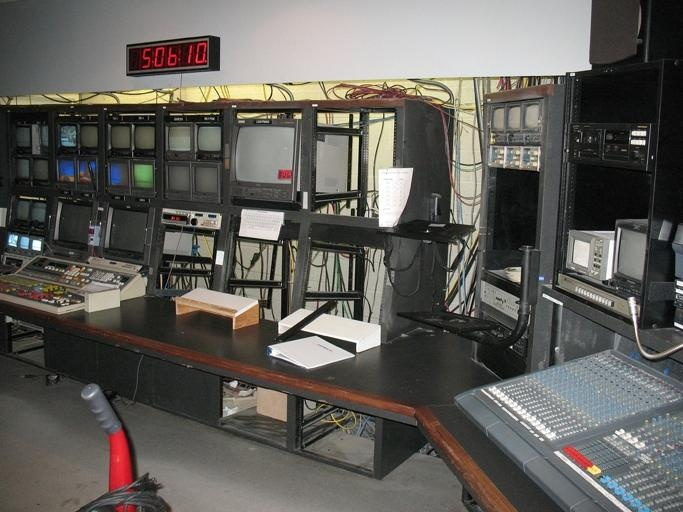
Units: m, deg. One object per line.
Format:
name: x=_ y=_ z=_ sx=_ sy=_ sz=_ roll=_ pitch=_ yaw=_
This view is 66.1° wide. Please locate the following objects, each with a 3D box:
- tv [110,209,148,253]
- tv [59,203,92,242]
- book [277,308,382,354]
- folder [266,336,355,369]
tv: x=-1.638 y=-0.193 z=4.033 sx=0.371 sy=0.313 sz=0.108 roll=8 pitch=10 yaw=34
tv: x=-2.155 y=-0.268 z=4.283 sx=0.287 sy=0.278 sz=0.161 roll=5 pitch=1 yaw=34
book: x=0.011 y=0.429 z=3.106 sx=0.461 sy=0.096 sz=0.217 roll=9 pitch=11 yaw=37
folder: x=-0.156 y=0.522 z=2.843 sx=0.217 sy=0.046 sz=0.214 roll=10 pitch=10 yaw=42
